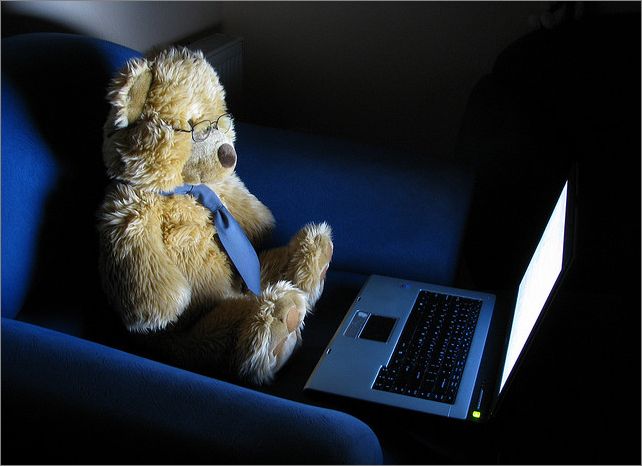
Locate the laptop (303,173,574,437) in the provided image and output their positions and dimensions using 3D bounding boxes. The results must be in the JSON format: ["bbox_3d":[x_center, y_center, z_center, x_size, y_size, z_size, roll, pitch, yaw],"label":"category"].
[{"bbox_3d":[0.203,0.197,1.109,0.458,0.340,0.479,9,38,23],"label":"laptop"}]
